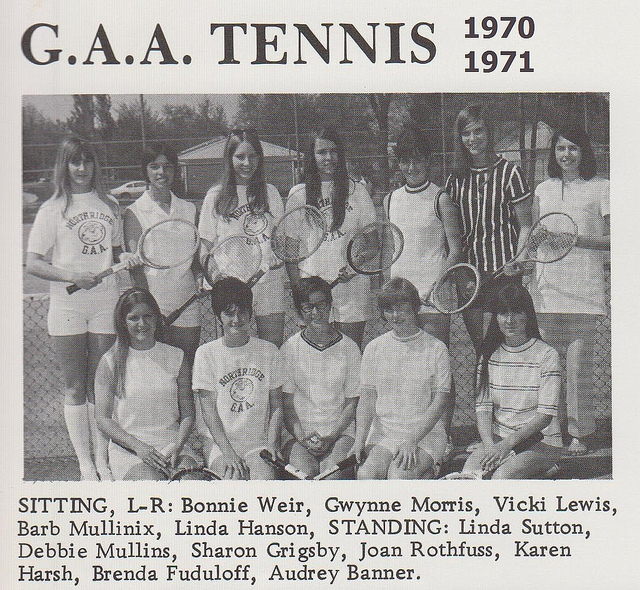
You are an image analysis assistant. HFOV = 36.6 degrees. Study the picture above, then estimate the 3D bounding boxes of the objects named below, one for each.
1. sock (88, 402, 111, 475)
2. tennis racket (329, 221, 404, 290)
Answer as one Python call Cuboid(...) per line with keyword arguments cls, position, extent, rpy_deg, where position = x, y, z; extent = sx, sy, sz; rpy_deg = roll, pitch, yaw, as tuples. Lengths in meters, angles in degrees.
Cuboid(cls="sock", position=(-1.040, 0.692, 4.523), extent=(0.054, 0.373, 0.071), rpy_deg=(-4, 2, -7))
Cuboid(cls="tennis racket", position=(0.228, -0.191, 4.657), extent=(0.482, 0.193, 0.025), rpy_deg=(-43, 1, 4))
